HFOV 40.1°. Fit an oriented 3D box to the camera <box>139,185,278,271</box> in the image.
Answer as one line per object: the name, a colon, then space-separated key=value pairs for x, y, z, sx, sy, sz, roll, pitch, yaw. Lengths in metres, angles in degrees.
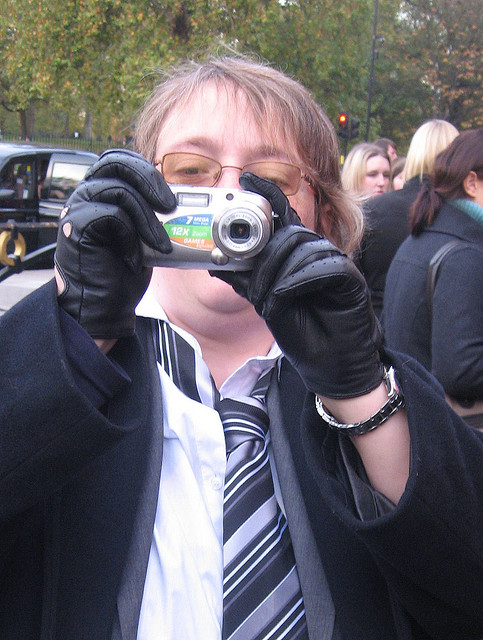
camera: x=-0.060 y=-0.194 z=1.311 sx=0.250 sy=0.173 sz=0.095 roll=2 pitch=1 yaw=10

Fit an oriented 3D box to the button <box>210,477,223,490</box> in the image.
button: x=-0.054 y=0.343 z=1.390 sx=0.020 sy=0.024 sz=0.005 roll=-5 pitch=-15 yaw=5
